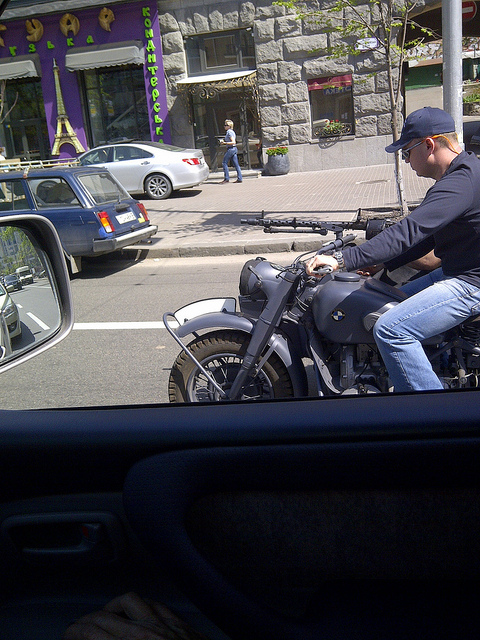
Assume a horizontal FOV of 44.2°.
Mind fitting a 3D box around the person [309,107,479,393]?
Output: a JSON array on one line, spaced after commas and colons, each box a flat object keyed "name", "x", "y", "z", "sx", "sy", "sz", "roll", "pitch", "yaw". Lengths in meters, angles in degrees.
[{"name": "person", "x": 0.799, "y": -0.328, "z": 2.668, "sx": 0.565, "sy": 1.214, "sz": 0.644, "roll": 6, "pitch": 15, "yaw": 24}]

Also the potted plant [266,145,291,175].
[{"name": "potted plant", "x": 1.237, "y": -5.048, "z": 18.640, "sx": 0.886, "sy": 0.797, "sz": 0.850, "roll": 0, "pitch": 22, "yaw": 25}]

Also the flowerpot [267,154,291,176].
[{"name": "flowerpot", "x": 1.242, "y": -4.881, "z": 18.534, "sx": 0.668, "sy": 0.546, "sz": 0.610, "roll": -3, "pitch": 27, "yaw": 11}]

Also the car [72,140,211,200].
[{"name": "car", "x": -2.355, "y": -3.980, "z": 15.422, "sx": 3.799, "sy": 1.057, "sz": 1.592, "roll": 5, "pitch": 20, "yaw": 12}]

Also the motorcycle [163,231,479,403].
[{"name": "motorcycle", "x": 0.299, "y": 0.034, "z": 3.072, "sx": 1.620, "sy": 0.827, "sz": 0.761, "roll": -1, "pitch": 7, "yaw": 6}]

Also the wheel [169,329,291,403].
[{"name": "wheel", "x": -0.036, "y": 0.231, "z": 2.943, "sx": 0.425, "sy": 0.358, "sz": 0.064, "roll": 5, "pitch": 11, "yaw": 14}]

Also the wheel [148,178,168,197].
[{"name": "wheel", "x": -2.115, "y": -3.375, "z": 15.078, "sx": 0.531, "sy": 0.445, "sz": 0.487, "roll": 2, "pitch": 9, "yaw": 0}]
